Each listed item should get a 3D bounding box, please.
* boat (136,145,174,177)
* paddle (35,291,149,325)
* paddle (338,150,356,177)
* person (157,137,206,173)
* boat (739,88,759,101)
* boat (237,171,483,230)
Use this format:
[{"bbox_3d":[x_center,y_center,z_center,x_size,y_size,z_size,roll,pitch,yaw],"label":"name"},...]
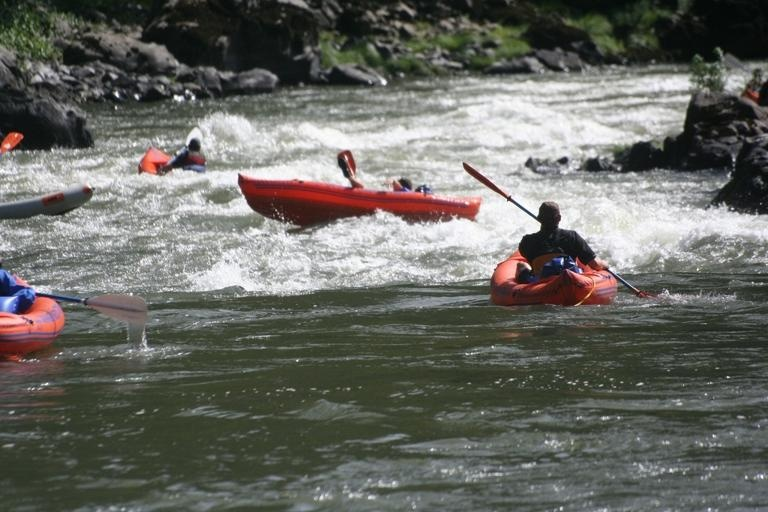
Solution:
[{"bbox_3d":[-6.273,-2.559,35.127,0.977,0.279,0.844,27,50,10],"label":"boat"},{"bbox_3d":[-5.554,1.041,26.590,3.231,0.595,0.145,6,-11,17],"label":"paddle"},{"bbox_3d":[-0.926,-2.351,32.351,0.471,0.687,0.255,-15,9,-7],"label":"paddle"},{"bbox_3d":[-5.347,-2.683,35.040,1.272,0.953,0.517,12,-17,-10],"label":"person"},{"bbox_3d":[10.805,-4.793,37.864,0.586,0.177,0.772,1,28,3],"label":"boat"},{"bbox_3d":[-0.772,-1.469,32.263,6.484,0.926,1.747,4,12,-9],"label":"boat"}]
